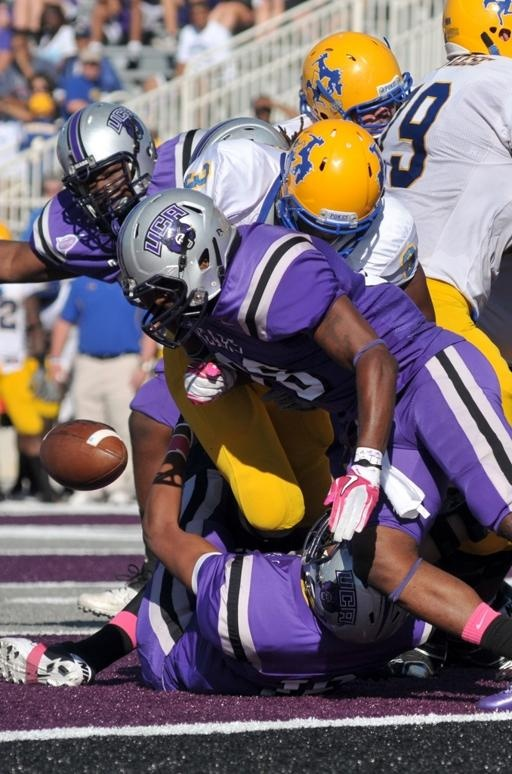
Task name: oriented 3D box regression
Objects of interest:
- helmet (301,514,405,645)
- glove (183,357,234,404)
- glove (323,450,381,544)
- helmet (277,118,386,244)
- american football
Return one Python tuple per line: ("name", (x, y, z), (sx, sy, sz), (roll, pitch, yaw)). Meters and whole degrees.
("helmet", (0.200, 0.458, 1.924), (0.225, 0.267, 0.229), (-7, 42, 5))
("glove", (-0.122, -0.016, 2.122), (0.140, 0.075, 0.056), (-12, -1, -8))
("glove", (0.204, 0.213, 1.670), (0.112, 0.050, 0.181), (-8, 39, 30))
("helmet", (0.212, -0.518, 2.266), (0.276, 0.280, 0.318), (16, 61, -23))
("american football", (-0.526, 0.198, 2.551), (0.314, 0.175, 0.219), (-5, 12, 40))
